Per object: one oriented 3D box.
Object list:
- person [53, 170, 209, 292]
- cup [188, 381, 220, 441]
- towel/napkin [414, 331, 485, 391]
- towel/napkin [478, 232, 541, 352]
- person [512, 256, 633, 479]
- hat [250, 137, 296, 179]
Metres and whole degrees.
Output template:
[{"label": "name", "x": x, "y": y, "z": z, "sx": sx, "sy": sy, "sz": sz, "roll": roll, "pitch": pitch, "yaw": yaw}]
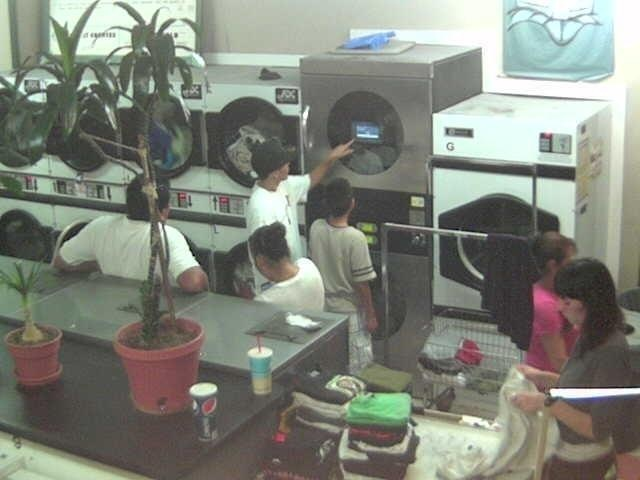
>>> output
[{"label": "person", "x": -1.152, "y": -0.057, "z": 3.882, "sx": 0.740, "sy": 0.686, "sz": 0.306, "roll": 13, "pitch": 32, "yaw": 15}, {"label": "cup", "x": -0.431, "y": 0.624, "z": 2.286, "sx": 0.093, "sy": 0.192, "sz": 0.180, "roll": -1, "pitch": 11, "yaw": -10}, {"label": "towel/napkin", "x": 0.732, "y": 0.673, "z": 3.430, "sx": 0.290, "sy": 0.229, "sz": 0.298, "roll": 8, "pitch": 39, "yaw": 11}, {"label": "towel/napkin", "x": 1.004, "y": 0.273, "z": 3.201, "sx": 0.075, "sy": 0.658, "sz": 0.563, "roll": -8, "pitch": 13, "yaw": -27}, {"label": "person", "x": 1.053, "y": 0.548, "z": 2.489, "sx": 0.471, "sy": 0.920, "sz": 0.413, "roll": 6, "pitch": 12, "yaw": 24}, {"label": "hat", "x": -0.290, "y": -0.481, "z": 3.773, "sx": 0.296, "sy": 0.160, "sz": 0.220, "roll": -33, "pitch": 47, "yaw": -6}]
